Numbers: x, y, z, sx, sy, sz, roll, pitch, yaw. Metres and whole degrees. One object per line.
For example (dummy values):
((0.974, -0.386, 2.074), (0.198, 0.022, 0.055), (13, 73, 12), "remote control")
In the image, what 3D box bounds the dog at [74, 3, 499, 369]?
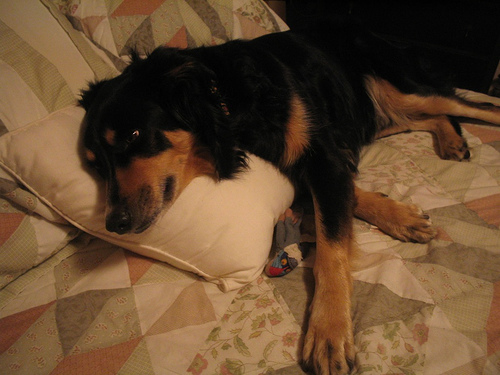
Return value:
((0.507, -0.393, 2.882), (3.207, 1.339, 1.409), (-32, 3, -36), "dog")
